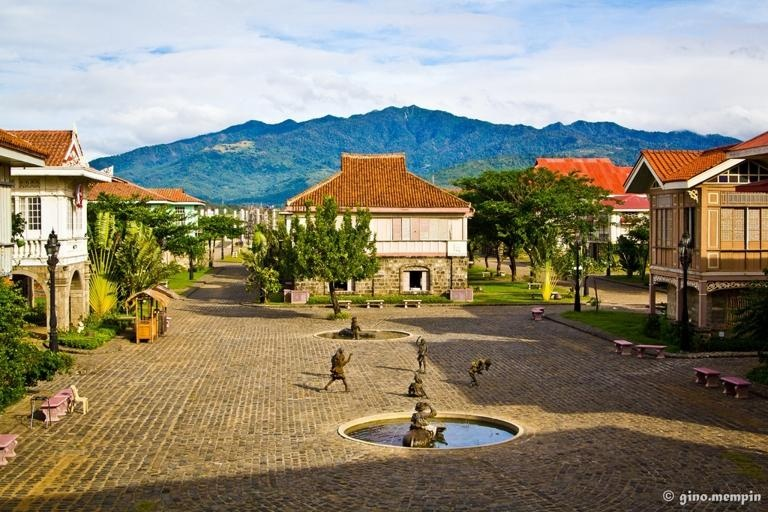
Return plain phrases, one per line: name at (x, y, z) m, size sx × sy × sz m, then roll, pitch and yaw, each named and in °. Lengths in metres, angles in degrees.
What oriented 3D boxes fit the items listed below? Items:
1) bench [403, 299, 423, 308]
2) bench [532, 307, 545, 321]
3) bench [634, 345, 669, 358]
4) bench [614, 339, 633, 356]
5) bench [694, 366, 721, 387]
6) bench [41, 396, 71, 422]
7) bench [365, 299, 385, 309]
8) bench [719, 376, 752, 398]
bench at (1.921, 3.175, 49.500) m, size 1.200 × 0.385 × 1.908 m, roll 0°, pitch 3°, yaw 5°
bench at (9.141, 3.403, 43.109) m, size 0.922 × 0.857 × 0.674 m, roll 0°, pitch -2°, yaw -4°
bench at (11.528, 4.084, 31.898) m, size 1.234 × 0.571 × 1.341 m, roll 1°, pitch 3°, yaw 20°
bench at (10.602, 4.023, 32.435) m, size 0.756 × 0.543 × 0.955 m, roll 1°, pitch 3°, yaw 18°
bench at (11.872, 4.271, 27.081) m, size 0.565 × 0.506 × 1.058 m, roll -3°, pitch 4°, yaw -9°
bench at (-10.385, 4.836, 23.298) m, size 0.590 × 0.721 × 1.011 m, roll 0°, pitch 3°, yaw -4°
bench at (-0.644, 3.211, 49.116) m, size 1.207 × 0.410 × 0.945 m, roll 0°, pitch 3°, yaw 0°
bench at (12.323, 4.595, 25.757) m, size 0.617 × 0.540 × 1.140 m, roll -1°, pitch -2°, yaw -4°
